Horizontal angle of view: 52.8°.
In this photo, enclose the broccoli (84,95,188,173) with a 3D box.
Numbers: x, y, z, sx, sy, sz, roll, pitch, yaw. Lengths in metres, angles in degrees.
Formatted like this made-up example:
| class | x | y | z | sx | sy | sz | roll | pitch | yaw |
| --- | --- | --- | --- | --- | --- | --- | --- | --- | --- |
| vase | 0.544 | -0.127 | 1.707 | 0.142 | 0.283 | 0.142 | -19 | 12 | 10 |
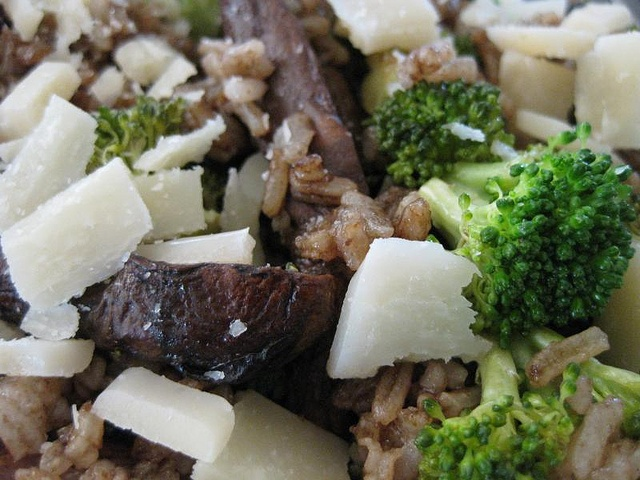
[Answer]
| class | x | y | z | sx | sy | sz | roll | pitch | yaw |
| --- | --- | --- | --- | --- | --- | --- | --- | --- | --- |
| broccoli | -0.589 | -0.353 | 2.091 | 0.267 | 0.270 | 0.169 | -37 | 69 | -18 |
